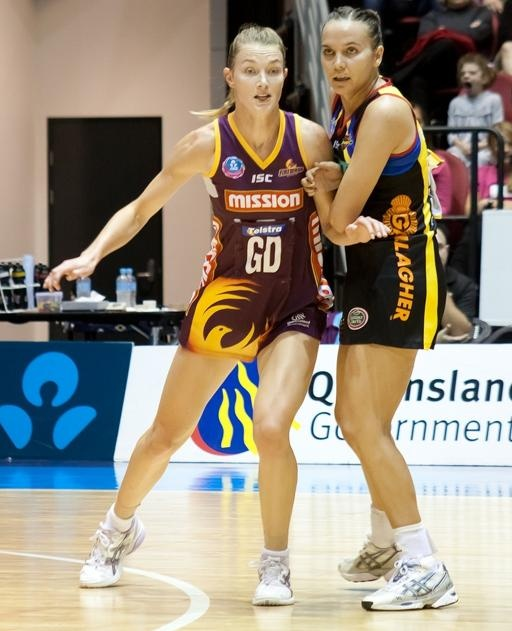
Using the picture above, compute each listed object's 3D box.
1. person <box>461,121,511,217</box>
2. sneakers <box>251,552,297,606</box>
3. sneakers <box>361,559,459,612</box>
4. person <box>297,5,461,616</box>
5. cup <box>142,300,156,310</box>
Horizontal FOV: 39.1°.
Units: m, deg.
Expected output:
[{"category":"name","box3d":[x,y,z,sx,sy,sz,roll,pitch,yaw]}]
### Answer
[{"category":"person","box3d":[2.363,-1.485,7.152,0.384,0.957,0.771,3,6,31]},{"category":"sneakers","box3d":[0.044,0.682,1.846,0.078,0.074,0.173,0,-6,2]},{"category":"sneakers","box3d":[0.398,0.690,1.904,0.308,0.146,0.099,0,-4,-18]},{"category":"person","box3d":[0.348,-0.005,1.891,0.355,1.532,0.320,0,5,5]},{"category":"cup","box3d":[-0.856,-0.090,5.800,0.090,0.064,0.087,-2,5,0]}]
